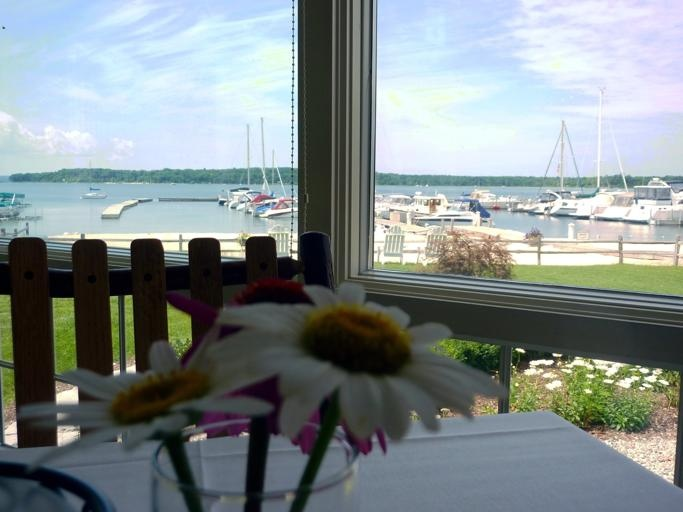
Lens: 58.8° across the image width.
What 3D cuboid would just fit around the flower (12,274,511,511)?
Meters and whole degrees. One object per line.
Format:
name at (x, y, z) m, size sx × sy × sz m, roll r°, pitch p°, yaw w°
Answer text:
flower at (-0.083, 0.129, 0.743) m, size 0.383 × 0.163 × 0.385 m, roll 4°, pitch 4°, yaw -37°
